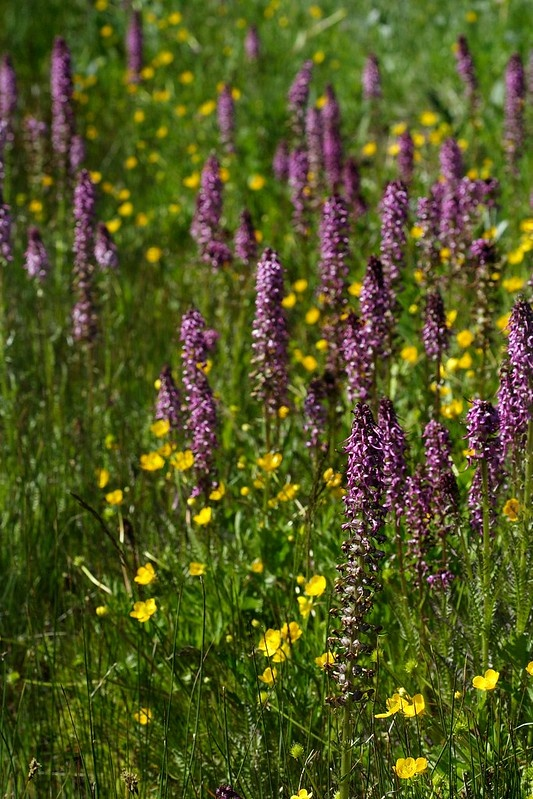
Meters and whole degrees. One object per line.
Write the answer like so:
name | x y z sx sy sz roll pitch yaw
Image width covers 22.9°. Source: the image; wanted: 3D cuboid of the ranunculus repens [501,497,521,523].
ranunculus repens | 0.661 0.299 3.512 0.063 0.069 0.019 -13 19 -22
